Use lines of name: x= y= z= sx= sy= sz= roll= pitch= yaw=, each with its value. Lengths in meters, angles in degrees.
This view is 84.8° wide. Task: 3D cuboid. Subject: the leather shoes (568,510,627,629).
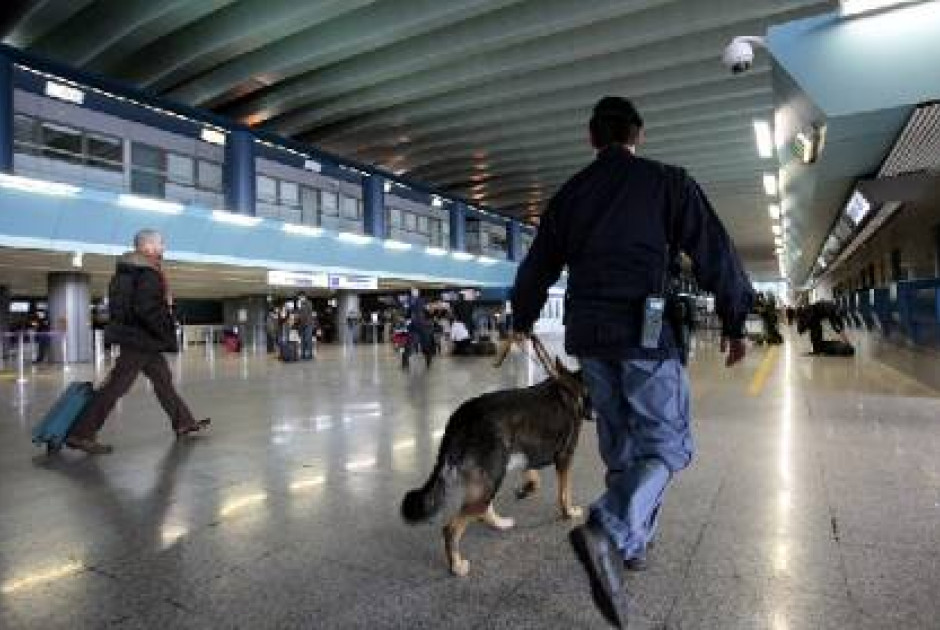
leather shoes: x=0.714 y=1.462 z=2.888 sx=0.291 sy=0.635 sz=0.225 roll=-1 pitch=5 yaw=13

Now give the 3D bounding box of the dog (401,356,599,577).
dog: x=0.310 y=1.035 z=3.793 sx=0.509 sy=1.129 sz=2.116 roll=-4 pitch=-1 yaw=42

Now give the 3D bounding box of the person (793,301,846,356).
person: x=9.397 y=0.305 z=13.750 sx=1.113 sy=1.386 sz=2.051 roll=1 pitch=6 yaw=28

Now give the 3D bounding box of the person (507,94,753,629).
person: x=0.960 y=-0.043 z=3.419 sx=1.292 sy=2.852 sz=1.101 roll=-5 pitch=6 yaw=-26

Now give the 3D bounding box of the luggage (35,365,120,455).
luggage: x=-4.355 y=1.108 z=5.617 sx=0.806 sy=0.769 sz=0.393 roll=-1 pitch=5 yaw=6
